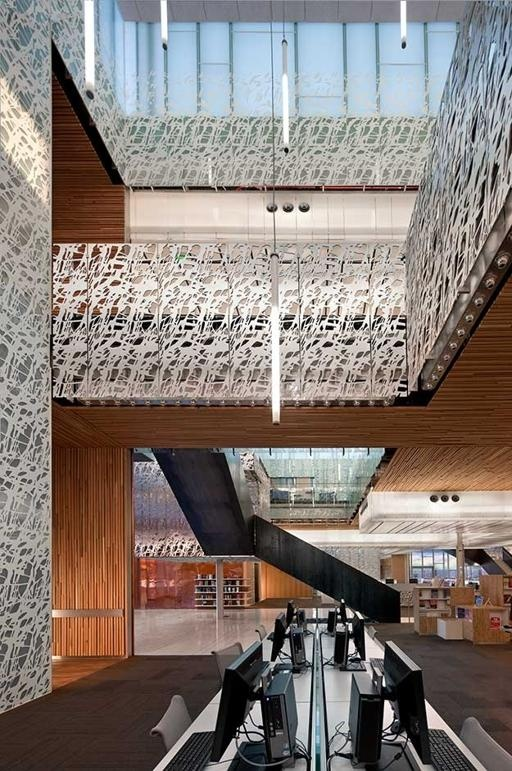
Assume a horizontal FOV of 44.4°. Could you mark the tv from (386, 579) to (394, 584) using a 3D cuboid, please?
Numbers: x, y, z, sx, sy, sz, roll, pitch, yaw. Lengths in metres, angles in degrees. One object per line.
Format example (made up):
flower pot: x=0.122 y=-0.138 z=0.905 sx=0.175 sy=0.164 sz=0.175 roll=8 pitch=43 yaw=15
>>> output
tv: x=5.149 y=7.581 z=24.076 sx=0.316 sy=0.135 sz=1.191 roll=-6 pitch=-12 yaw=10

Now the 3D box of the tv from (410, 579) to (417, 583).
tv: x=6.603 y=8.238 z=26.261 sx=0.292 sy=0.075 sz=1.324 roll=-6 pitch=-12 yaw=10
